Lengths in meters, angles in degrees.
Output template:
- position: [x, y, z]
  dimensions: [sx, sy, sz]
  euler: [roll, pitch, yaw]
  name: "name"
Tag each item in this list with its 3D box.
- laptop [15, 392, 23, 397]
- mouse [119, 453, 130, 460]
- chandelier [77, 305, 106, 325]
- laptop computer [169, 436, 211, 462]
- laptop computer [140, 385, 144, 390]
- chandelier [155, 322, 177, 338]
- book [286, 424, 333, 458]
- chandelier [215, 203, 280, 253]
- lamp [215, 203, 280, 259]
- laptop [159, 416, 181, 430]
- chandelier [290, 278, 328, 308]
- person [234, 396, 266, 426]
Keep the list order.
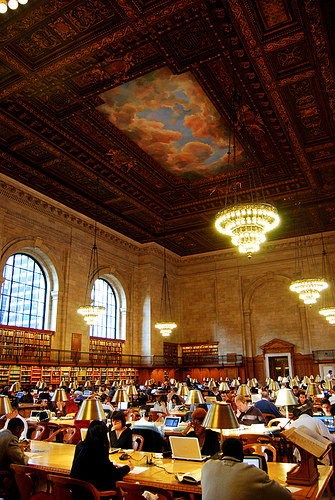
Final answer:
- position: [-4.376, 4.252, 9.962]
  dimensions: [0.179, 0.162, 0.108]
  euler: [5, -13, -31]
  name: "laptop"
- position: [-0.398, 1.903, 3.123]
  dimensions: [0.073, 0.043, 0.102]
  euler: [0, -21, 1]
  name: "mouse"
- position: [-3.034, 2.538, 13.478]
  dimensions: [0.856, 0.575, 0.872]
  euler: [-7, -20, 21]
  name: "chandelier"
- position: [0.169, 1.693, 2.884]
  dimensions: [0.313, 0.230, 0.266]
  euler: [-7, -19, 23]
  name: "laptop computer"
- position: [-1.074, 5.775, 14.200]
  dimensions: [0.163, 0.161, 0.087]
  euler: [12, -23, -35]
  name: "laptop computer"
- position: [-0.069, 3.923, 16.969]
  dimensions: [0.913, 0.590, 0.926]
  euler: [-4, -23, 13]
  name: "chandelier"
- position: [0.877, 1.171, 2.103]
  dimensions: [0.214, 0.108, 0.427]
  euler: [-8, -19, 26]
  name: "book"
- position: [1.865, -0.421, 7.776]
  dimensions: [1.342, 0.927, 1.325]
  euler: [-2, -12, 6]
  name: "chandelier"
- position: [1.893, -0.364, 7.819]
  dimensions: [1.435, 1.230, 1.321]
  euler: [-2, -11, 21]
  name: "lamp"
- position: [0.039, 2.926, 5.709]
  dimensions: [0.323, 0.147, 0.625]
  euler: [1, -17, 0]
  name: "laptop"
- position: [5.709, 1.636, 13.693]
  dimensions: [1.151, 0.893, 1.160]
  euler: [0, -21, 5]
  name: "chandelier"
- position: [1.494, 2.855, 6.065]
  dimensions: [0.503, 0.467, 0.781]
  euler: [-3, -18, 12]
  name: "person"
